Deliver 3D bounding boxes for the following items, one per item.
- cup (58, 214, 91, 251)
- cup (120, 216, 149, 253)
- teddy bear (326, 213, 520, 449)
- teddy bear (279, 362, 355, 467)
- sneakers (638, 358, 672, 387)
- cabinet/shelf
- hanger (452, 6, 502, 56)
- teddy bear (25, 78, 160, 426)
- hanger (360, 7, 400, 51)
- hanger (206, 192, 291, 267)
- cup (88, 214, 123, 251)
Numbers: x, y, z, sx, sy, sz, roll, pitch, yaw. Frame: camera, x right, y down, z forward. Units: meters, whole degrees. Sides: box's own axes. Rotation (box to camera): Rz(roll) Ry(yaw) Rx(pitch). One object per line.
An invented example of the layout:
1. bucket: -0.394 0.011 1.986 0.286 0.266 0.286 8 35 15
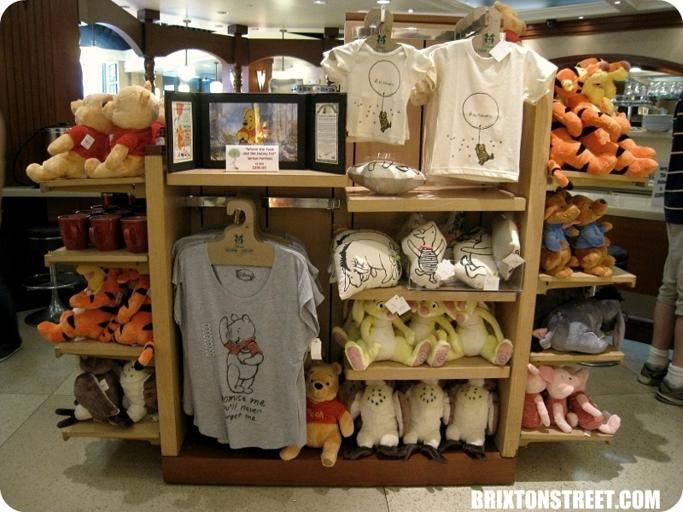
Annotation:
1. cup: -1.382 -0.123 2.894 0.130 0.181 0.108 -12 17 -38
2. cup: -1.035 -0.103 2.789 0.131 0.177 0.194 1 14 -4
3. teddy bear: 0.447 0.423 2.932 1.238 1.137 0.595 -1 12 -2
4. teddy bear: -0.132 0.821 2.941 0.371 0.457 0.389 4 4 -3
5. sneakers: 2.224 0.834 3.979 0.282 0.187 0.095 -3 5 -33
6. cabinet/shelf: -0.109 0.054 3.156 3.440 2.492 0.991 -1 31 5
7. hanger: 0.678 -1.108 2.751 0.169 0.263 0.304 -2 19 -11
8. teddy bear: -1.244 0.025 2.884 0.685 1.784 0.465 -3 13 -6
9. hanger: 0.191 -1.108 2.730 0.167 0.200 0.096 2 14 14
10. hanger: -0.468 -0.132 2.828 0.378 0.352 0.130 3 21 0
11. cup: -1.202 -0.111 2.836 0.133 0.180 0.198 2 9 -3
